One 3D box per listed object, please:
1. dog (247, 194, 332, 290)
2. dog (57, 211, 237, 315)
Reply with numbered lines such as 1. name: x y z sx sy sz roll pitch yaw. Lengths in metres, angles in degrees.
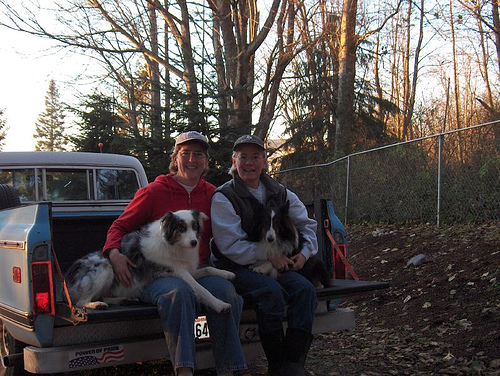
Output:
1. dog: 0.351 0.705 5.452 1.266 0.837 0.626 38 -23 -34
2. dog: -1.043 0.808 4.951 1.626 0.936 0.980 -3 -9 -5
